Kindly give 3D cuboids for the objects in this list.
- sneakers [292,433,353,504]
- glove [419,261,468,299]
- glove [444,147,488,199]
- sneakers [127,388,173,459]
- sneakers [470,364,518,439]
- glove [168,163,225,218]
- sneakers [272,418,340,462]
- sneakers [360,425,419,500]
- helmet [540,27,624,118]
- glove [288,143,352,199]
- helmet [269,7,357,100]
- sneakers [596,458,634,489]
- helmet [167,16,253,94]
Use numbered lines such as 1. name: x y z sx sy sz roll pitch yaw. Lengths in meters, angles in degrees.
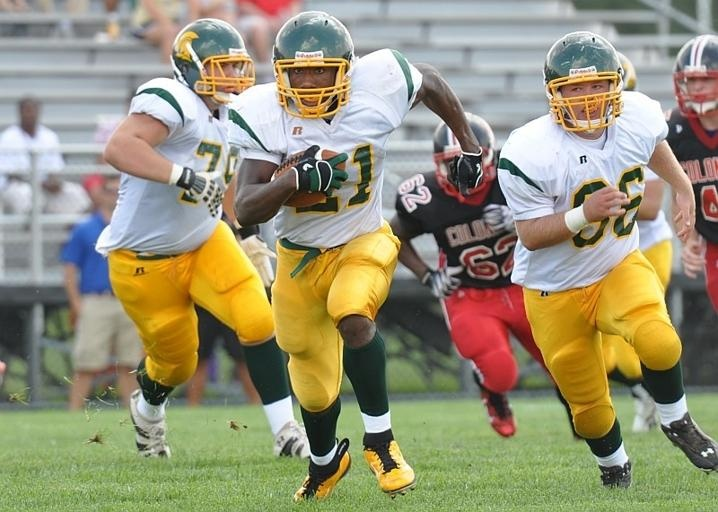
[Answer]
1. sneakers: -0.155 1.141 5.184 0.144 0.439 0.171 28 -11 28
2. glove: 0.571 0.172 6.753 0.284 0.197 0.218 -5 4 -9
3. glove: 0.597 -0.467 5.509 0.240 0.241 0.167 -17 19 -37
4. sneakers: -1.277 1.064 6.103 0.166 0.500 0.206 -17 3 -35
5. sneakers: 0.931 0.994 6.942 0.290 0.467 0.285 -3 4 18
6. glove: -0.888 -0.372 5.547 0.213 0.137 0.319 33 6 10
7. sneakers: -0.300 1.082 5.916 0.342 0.221 0.119 0 -4 16
8. sneakers: 0.138 1.021 5.081 0.173 0.233 0.468 -13 14 -15
9. helmet: 1.191 -0.951 5.334 0.365 0.448 0.503 -7 19 10
10. glove: -0.180 -0.530 4.983 0.101 0.361 0.373 -24 -31 26
11. helmet: -0.222 -1.049 5.238 0.381 0.450 0.507 0 26 5
12. sneakers: 1.326 1.126 5.225 0.157 0.116 0.161 -4 4 12
13. helmet: -0.845 -1.157 5.849 0.483 0.412 0.370 14 17 15
